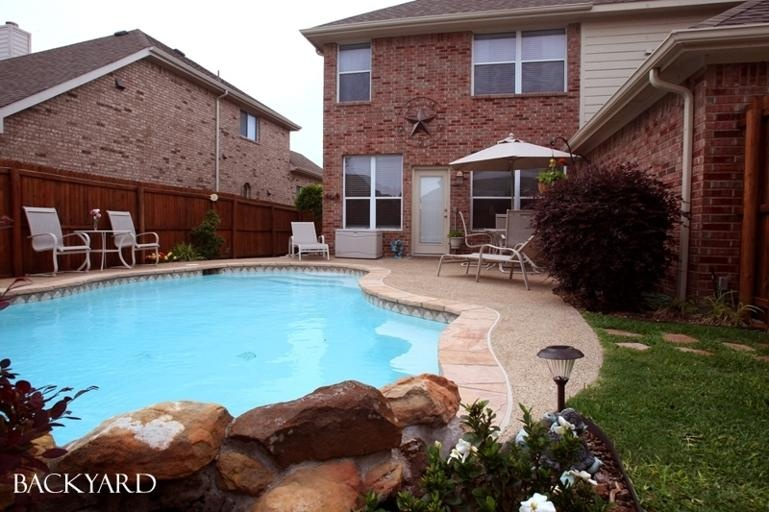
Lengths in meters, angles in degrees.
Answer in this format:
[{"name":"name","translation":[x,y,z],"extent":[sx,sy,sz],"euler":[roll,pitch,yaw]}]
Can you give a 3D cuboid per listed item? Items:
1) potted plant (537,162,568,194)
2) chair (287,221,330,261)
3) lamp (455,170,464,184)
[{"name":"potted plant","translation":[3.955,-1.765,11.689],"extent":[0.581,0.759,0.624],"euler":[26,30,25]},{"name":"chair","translation":[-2.191,-0.425,14.192],"extent":[0.986,1.043,1.267],"euler":[-1,8,-16]},{"name":"lamp","translation":[2.097,-2.199,13.839],"extent":[0.319,0.451,0.301],"euler":[0,0,2]}]
